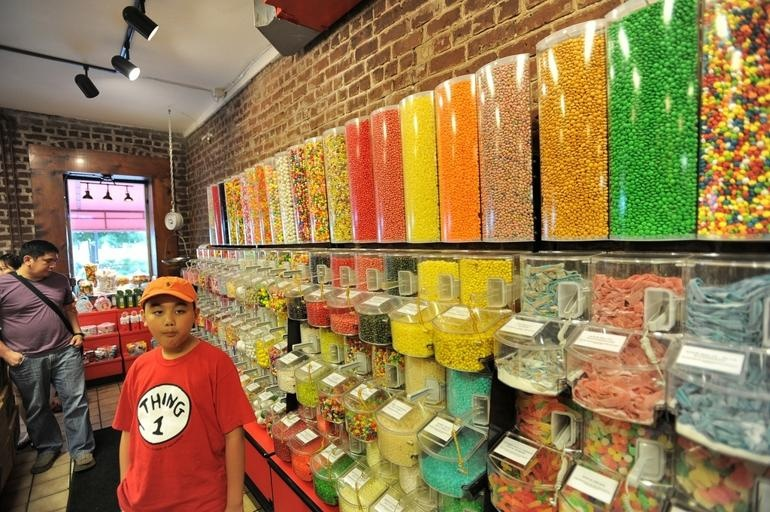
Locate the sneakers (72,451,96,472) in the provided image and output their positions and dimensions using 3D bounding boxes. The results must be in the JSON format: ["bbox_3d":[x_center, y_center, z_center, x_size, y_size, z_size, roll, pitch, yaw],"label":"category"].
[{"bbox_3d":[-2.570,1.730,4.352,0.160,0.104,0.203,-6,5,-32],"label":"sneakers"}]
